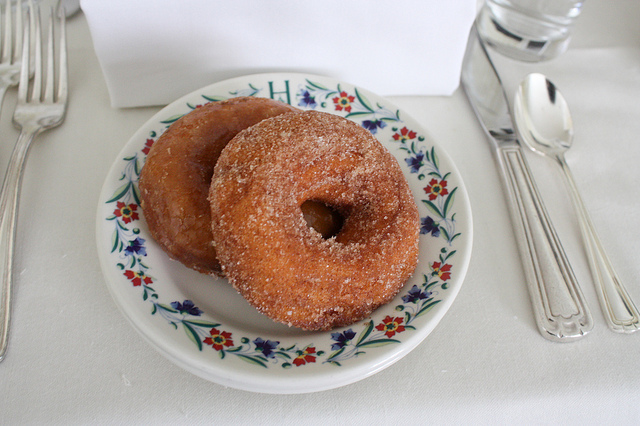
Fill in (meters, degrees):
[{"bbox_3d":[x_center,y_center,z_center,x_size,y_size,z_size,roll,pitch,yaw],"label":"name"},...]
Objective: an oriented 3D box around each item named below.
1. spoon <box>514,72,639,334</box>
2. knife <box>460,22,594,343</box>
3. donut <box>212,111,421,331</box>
[{"bbox_3d":[0.596,-0.050,1.465,0.125,0.080,0.687,-6,57,3],"label":"spoon"},{"bbox_3d":[0.477,-0.132,1.506,0.120,0.106,0.885,-13,61,10],"label":"knife"},{"bbox_3d":[-0.008,0.011,1.275,0.438,0.135,0.452,-9,73,-8],"label":"donut"}]
